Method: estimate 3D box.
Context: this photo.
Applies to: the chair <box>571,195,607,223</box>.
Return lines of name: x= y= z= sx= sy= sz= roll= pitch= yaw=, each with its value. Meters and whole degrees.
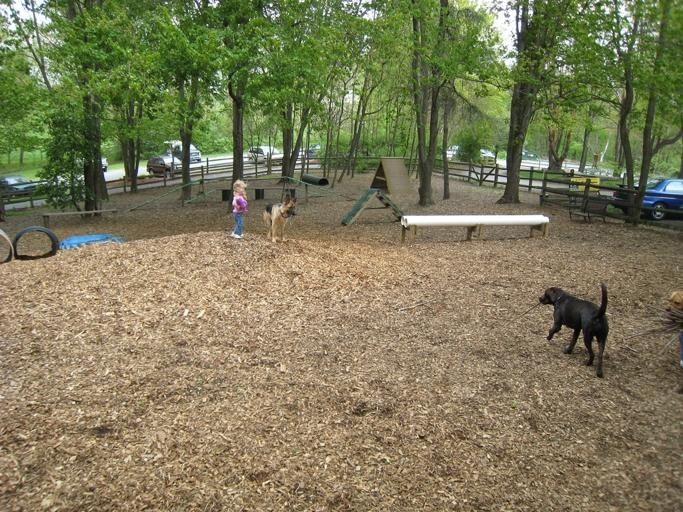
chair: x=7.996 y=-1.498 z=18.712 sx=0.441 sy=0.677 sz=1.019 roll=-5 pitch=11 yaw=-5
